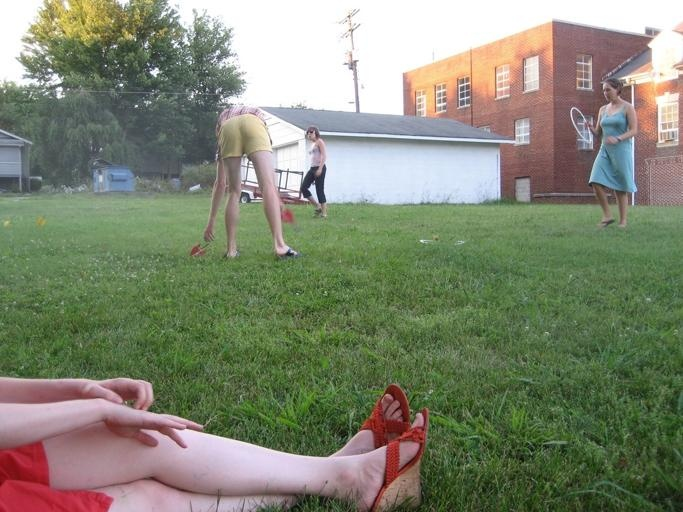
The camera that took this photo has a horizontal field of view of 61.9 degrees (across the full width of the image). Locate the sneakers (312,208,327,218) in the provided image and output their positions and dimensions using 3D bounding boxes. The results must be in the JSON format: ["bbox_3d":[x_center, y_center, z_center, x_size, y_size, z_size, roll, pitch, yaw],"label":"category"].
[{"bbox_3d":[-0.394,-0.826,11.128,0.129,0.185,0.440,-3,-5,-14],"label":"sneakers"}]

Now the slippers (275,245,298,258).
[{"bbox_3d":[-0.548,-0.035,5.975,0.200,0.099,0.111,-1,3,0],"label":"slippers"}]

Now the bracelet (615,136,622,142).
[{"bbox_3d":[3.791,-1.605,7.812,0.048,0.076,0.083,-4,50,0],"label":"bracelet"}]

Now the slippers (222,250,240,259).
[{"bbox_3d":[-1.187,-0.012,6.157,0.075,0.079,0.192,-4,3,-39],"label":"slippers"}]

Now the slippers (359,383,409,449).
[{"bbox_3d":[0.186,0.739,2.675,0.077,0.202,0.466,24,-15,-11],"label":"slippers"}]

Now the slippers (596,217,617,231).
[{"bbox_3d":[3.838,-0.461,8.164,0.400,0.179,0.143,-5,-6,-43],"label":"slippers"}]
